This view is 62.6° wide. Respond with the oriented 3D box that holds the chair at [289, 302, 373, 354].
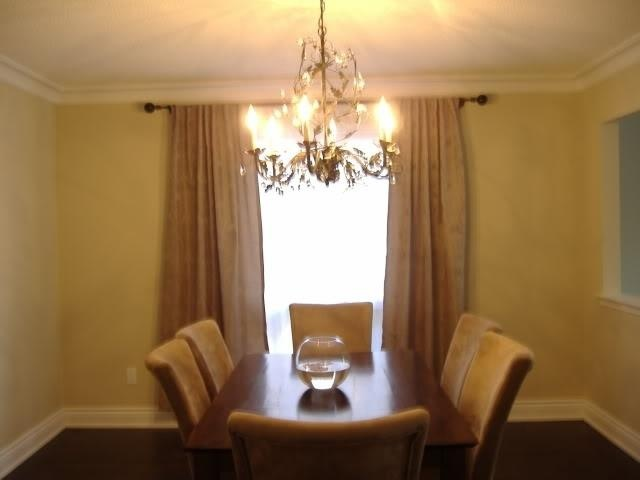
[{"bbox_3d":[0.096,0.594,3.791,0.390,0.542,0.403,-2,-10,16],"label":"chair"}]
